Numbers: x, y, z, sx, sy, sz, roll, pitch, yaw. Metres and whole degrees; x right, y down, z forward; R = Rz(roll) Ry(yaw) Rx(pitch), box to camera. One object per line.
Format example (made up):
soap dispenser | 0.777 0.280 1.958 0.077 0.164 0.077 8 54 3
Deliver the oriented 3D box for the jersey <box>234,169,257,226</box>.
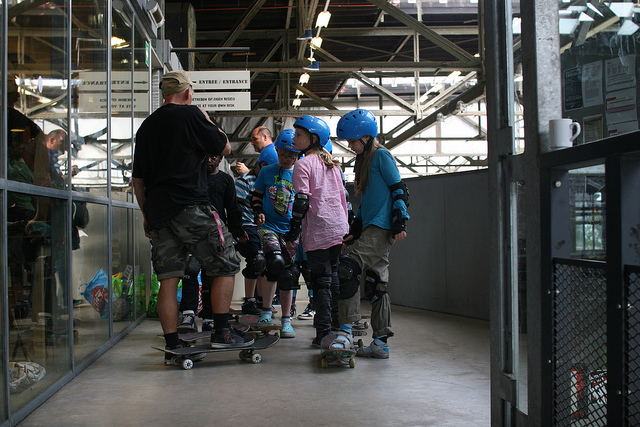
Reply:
jersey | -0.753 -0.146 6.249 0.173 0.568 0.254 -26 -47 13

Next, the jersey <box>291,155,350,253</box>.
jersey | 0.002 -0.087 5.044 0.464 0.785 0.250 -1 2 -14

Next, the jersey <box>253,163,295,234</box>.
jersey | -0.434 -0.136 5.985 0.487 0.707 0.285 14 -23 -33

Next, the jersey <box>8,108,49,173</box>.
jersey | -1.809 -0.443 3.835 0.150 0.253 0.266 4 -6 22

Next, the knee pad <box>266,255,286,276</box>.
knee pad | -0.419 0.483 5.740 0.163 0.197 0.123 0 2 -5

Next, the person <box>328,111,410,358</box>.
person | 0.389 0.170 4.936 0.634 2.009 0.464 0 2 -6

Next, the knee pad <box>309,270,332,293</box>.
knee pad | -0.015 0.550 5.087 0.243 0.177 0.214 1 2 25

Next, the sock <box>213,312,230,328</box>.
sock | -0.775 0.830 4.836 0.106 0.121 0.109 -2 -2 25

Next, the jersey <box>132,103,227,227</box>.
jersey | -1.127 -0.360 4.835 0.710 0.928 0.530 -10 -12 13

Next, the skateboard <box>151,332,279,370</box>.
skateboard | -0.672 1.048 4.890 1.265 0.248 0.351 1 4 -26

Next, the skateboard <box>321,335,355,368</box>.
skateboard | 0.135 1.072 4.793 0.256 0.210 0.260 0 2 1

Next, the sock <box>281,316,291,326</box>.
sock | -0.333 1.012 5.884 0.056 0.073 0.073 -1 -12 -4

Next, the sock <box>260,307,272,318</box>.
sock | -0.535 0.970 6.115 0.090 0.094 0.069 0 0 19

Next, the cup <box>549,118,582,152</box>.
cup | 1.242 -0.396 3.131 0.102 0.154 0.158 5 -4 -40

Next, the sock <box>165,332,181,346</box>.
sock | -1.132 0.966 4.787 0.084 0.109 0.107 -22 -1 -26

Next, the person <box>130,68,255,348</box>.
person | -1.010 -0.035 4.776 0.831 2.147 0.407 -1 2 -17

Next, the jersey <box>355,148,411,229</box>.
jersey | 0.458 -0.207 5.005 0.386 0.651 0.195 1 2 21

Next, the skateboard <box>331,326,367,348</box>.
skateboard | 0.317 1.111 5.652 0.190 0.089 0.278 -1 -4 37
